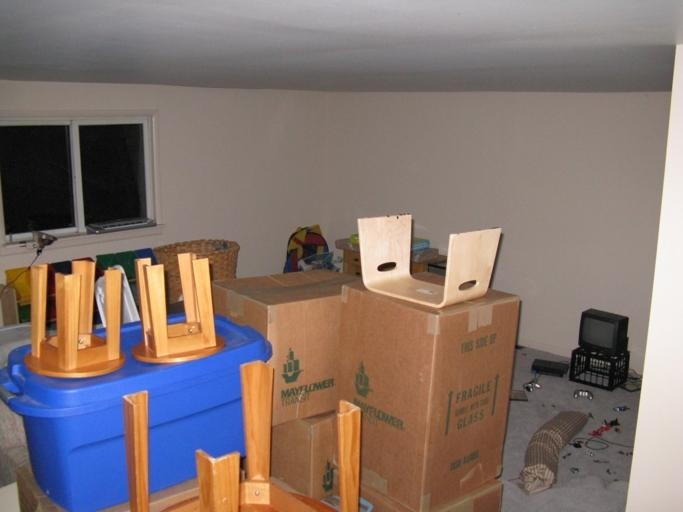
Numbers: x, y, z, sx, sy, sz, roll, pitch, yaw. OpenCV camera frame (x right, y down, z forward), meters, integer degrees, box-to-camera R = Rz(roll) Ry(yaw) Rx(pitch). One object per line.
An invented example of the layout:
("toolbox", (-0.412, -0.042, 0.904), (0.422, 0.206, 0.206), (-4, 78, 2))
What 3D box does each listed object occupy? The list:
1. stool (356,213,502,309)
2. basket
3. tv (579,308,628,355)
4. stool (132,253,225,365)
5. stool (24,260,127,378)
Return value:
("stool", (0.317, -0.040, 2.350), (0.377, 0.343, 0.529), (-11, 20, -40))
("basket", (-1.209, 0.021, 4.859), (0.687, 0.533, 0.661), (-12, 17, -42))
("tv", (2.065, 0.571, 4.563), (0.416, 0.409, 0.307), (7, 4, 44))
("stool", (-0.569, 0.168, 1.989), (0.294, 0.339, 0.305), (8, 16, 39))
("stool", (-0.867, 0.189, 1.944), (0.348, 0.355, 0.350), (11, 13, 30))
